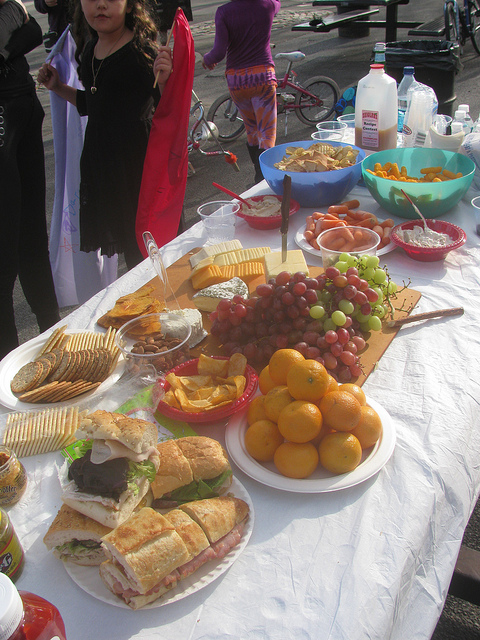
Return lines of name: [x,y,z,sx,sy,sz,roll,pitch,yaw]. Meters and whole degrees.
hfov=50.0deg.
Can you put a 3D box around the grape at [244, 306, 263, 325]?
grape: [0.043,-0.012,1.585,0.038,0.034,0.065,-4,7,-8]

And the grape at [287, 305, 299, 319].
grape: [0.156,-0.024,1.506,0.027,0.022,0.037,-21,30,8]

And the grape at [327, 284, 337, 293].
grape: [0.282,-0.098,1.577,0.025,0.025,0.029,4,54,5]

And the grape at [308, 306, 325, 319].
grape: [0.222,-0.024,1.493,0.041,0.031,0.031,-12,8,18]

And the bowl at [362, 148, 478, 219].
bowl: [0.833,-0.627,2.436,0.498,0.219,0.486,-4,31,3]

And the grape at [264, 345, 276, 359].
grape: [0.086,0.095,1.536,0.028,0.036,0.027,11,-8,-34]

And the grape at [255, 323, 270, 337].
grape: [0.065,0.030,1.568,0.031,0.024,0.042,1,21,4]

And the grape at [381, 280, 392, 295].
grape: [0.482,-0.109,1.698,0.036,0.043,0.026,1,-17,1]

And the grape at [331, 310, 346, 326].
grape: [0.282,-0.007,1.475,0.033,0.039,0.022,4,1,11]

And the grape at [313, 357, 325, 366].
grape: [0.222,0.116,1.434,0.023,0.013,0.023,40,7,6]

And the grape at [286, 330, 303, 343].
grape: [0.160,0.047,1.505,0.040,0.030,0.030,-29,54,11]

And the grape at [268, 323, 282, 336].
grape: [0.102,0.031,1.547,0.027,0.027,0.036,-33,20,-32]

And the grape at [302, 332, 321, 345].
grape: [0.202,0.051,1.474,0.042,0.031,0.030,-4,23,11]

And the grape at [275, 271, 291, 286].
grape: [0.132,-0.129,1.570,0.034,0.044,0.034,45,23,9]

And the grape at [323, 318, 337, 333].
grape: [0.260,0.015,1.490,0.030,0.037,0.022,0,-18,6]

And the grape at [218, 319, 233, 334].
grape: [-0.046,0.021,1.607,0.036,0.035,0.047,36,59,7]

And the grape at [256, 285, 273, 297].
grape: [0.075,-0.089,1.558,0.041,0.030,0.030,-1,19,10]

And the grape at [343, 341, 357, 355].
grape: [0.311,0.079,1.448,0.032,0.019,0.037,1,11,5]

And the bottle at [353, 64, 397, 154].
bottle: [0.733,-1.144,2.766,0.201,0.471,0.163,18,59,27]

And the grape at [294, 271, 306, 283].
grape: [0.180,-0.133,1.563,0.033,0.034,0.040,7,-5,6]

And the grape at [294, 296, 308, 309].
grape: [0.177,-0.053,1.509,0.025,0.023,0.047,-14,50,8]

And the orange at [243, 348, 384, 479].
orange: [0.172,0.200,1.247,0.354,0.215,0.354,6,30,24]

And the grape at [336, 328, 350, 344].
grape: [0.288,0.045,1.444,0.038,0.044,0.036,-2,-5,0]

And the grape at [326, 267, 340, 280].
grape: [0.284,-0.147,1.601,0.037,0.043,0.036,2,11,-5]

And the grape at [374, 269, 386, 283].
grape: [0.446,-0.140,1.640,0.041,0.040,0.047,-11,42,15]

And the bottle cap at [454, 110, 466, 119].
bottle cap: [1.160,-1.088,2.716,0.051,0.044,0.050,-3,25,4]

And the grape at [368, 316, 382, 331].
grape: [0.418,0.009,1.596,0.041,0.048,0.042,-17,-16,7]

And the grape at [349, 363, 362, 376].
grape: [0.329,0.143,1.472,0.038,0.018,0.036,14,44,-21]

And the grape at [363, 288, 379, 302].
grape: [0.391,-0.076,1.540,0.033,0.025,0.042,-1,9,-2]

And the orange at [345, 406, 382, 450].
orange: [0.287,0.257,1.257,0.091,0.090,0.108,-2,10,13]

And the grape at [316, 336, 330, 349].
grape: [0.233,0.068,1.453,0.040,0.038,0.026,7,32,20]

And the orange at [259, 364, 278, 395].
orange: [0.077,0.158,1.394,0.065,0.065,0.076,3,47,4]

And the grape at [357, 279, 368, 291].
grape: [0.371,-0.106,1.549,0.035,0.036,0.038,-9,-7,25]

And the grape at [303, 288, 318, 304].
grape: [0.209,-0.068,1.515,0.031,0.041,0.030,-18,66,-24]

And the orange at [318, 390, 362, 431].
orange: [0.227,0.212,1.181,0.099,0.085,0.068,3,31,12]

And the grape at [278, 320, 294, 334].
grape: [0.136,0.021,1.521,0.036,0.042,0.035,-1,4,-4]

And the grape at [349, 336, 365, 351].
grape: [0.347,0.067,1.563,0.046,0.034,0.035,30,-3,0]

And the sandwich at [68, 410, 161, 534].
sandwich: [-0.276,0.285,1.109,0.187,0.118,0.246,21,22,2]

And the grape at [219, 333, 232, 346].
grape: [-0.047,0.063,1.612,0.037,0.027,0.027,1,15,35]

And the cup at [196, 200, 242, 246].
cup: [-0.092,-0.445,2.504,0.265,0.200,0.257,-2,43,2]

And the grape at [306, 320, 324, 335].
grape: [0.220,0.019,1.500,0.041,0.031,0.031,-25,6,-1]

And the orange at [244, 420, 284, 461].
orange: [0.054,0.280,1.195,0.088,0.088,0.044,9,0,0]

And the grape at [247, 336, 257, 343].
grape: [0.037,0.061,1.568,0.026,0.010,0.035,-8,29,-6]
